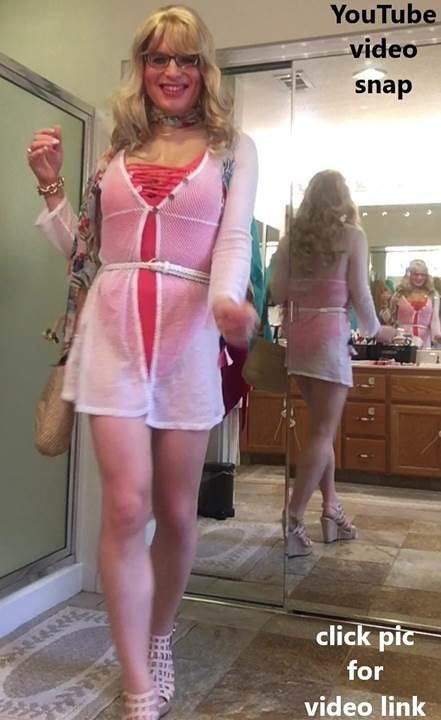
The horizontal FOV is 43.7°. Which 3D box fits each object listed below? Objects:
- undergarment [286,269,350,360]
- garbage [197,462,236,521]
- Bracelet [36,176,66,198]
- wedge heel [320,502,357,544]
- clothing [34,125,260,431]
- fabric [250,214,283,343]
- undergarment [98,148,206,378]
[{"bbox_3d":[0.319,-0.110,1.776,0.189,0.272,0.150,-1,-7,17],"label":"undergarment"},{"bbox_3d":[-0.013,0.474,1.971,0.132,0.191,0.126,-2,-8,14],"label":"garbage"},{"bbox_3d":[-0.352,-0.368,1.169,0.046,0.049,0.023,-16,54,-39],"label":"Bracelet"},{"bbox_3d":[0.353,0.531,1.774,0.133,0.133,0.072,-3,-2,-5],"label":"wedge heel"},{"bbox_3d":[-0.106,-0.125,1.130,0.465,0.695,0.456,1,-5,7],"label":"clothing"},{"bbox_3d":[0.158,-0.246,1.837,0.114,0.466,0.138,-7,-20,3],"label":"fabric"},{"bbox_3d":[-0.132,-0.161,1.063,0.237,0.450,0.198,5,-9,-17],"label":"undergarment"}]
